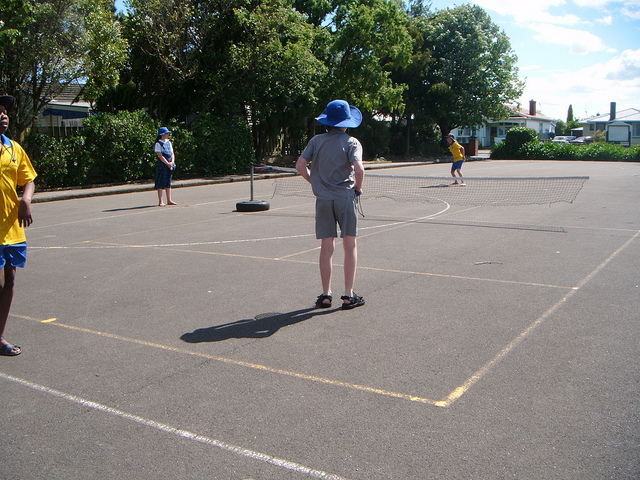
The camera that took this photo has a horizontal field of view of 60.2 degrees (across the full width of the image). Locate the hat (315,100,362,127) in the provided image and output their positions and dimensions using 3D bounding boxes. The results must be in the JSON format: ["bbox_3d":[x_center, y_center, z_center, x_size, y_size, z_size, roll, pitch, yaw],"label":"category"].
[{"bbox_3d":[0.259,-1.603,6.950,0.552,0.331,0.432,-5,12,-19],"label":"hat"}]

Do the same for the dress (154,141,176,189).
[{"bbox_3d":[-4.528,-2.192,16.076,0.502,1.408,0.834,-4,12,-18],"label":"dress"}]

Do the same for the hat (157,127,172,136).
[{"bbox_3d":[-4.337,-3.126,15.669,0.503,0.268,0.389,-7,8,-12],"label":"hat"}]

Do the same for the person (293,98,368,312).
[{"bbox_3d":[0.213,-0.533,7.287,0.837,2.584,1.506,0,11,3],"label":"person"}]

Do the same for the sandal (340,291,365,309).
[{"bbox_3d":[0.420,0.766,6.992,0.140,0.184,0.300,4,7,36],"label":"sandal"}]

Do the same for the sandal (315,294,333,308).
[{"bbox_3d":[0.054,0.769,6.990,0.201,0.157,0.134,-1,11,-2],"label":"sandal"}]
